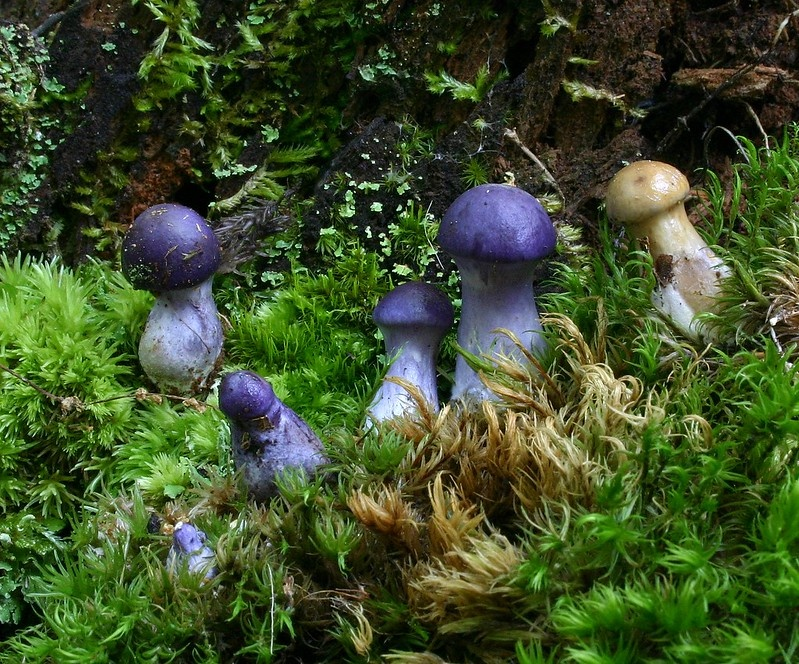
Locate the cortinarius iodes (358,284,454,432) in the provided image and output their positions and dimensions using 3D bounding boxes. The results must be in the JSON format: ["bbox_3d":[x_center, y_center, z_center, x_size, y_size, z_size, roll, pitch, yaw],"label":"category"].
[{"bbox_3d":[0.027,0.099,2.919,0.214,0.551,0.223,-5,12,-45],"label":"cortinarius iodes"}]

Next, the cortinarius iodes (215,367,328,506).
[{"bbox_3d":[-0.375,0.298,2.633,0.263,0.433,0.262,-7,28,27],"label":"cortinarius iodes"}]

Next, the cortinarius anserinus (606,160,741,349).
[{"bbox_3d":[0.798,-0.268,2.756,0.305,0.557,0.393,4,12,41],"label":"cortinarius anserinus"}]

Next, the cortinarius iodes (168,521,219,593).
[{"bbox_3d":[-0.549,0.575,2.410,0.105,0.159,0.175,-5,6,-13],"label":"cortinarius iodes"}]

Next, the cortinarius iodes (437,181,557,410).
[{"bbox_3d":[0.298,-0.089,2.732,0.293,0.678,0.319,29,52,26],"label":"cortinarius iodes"}]
